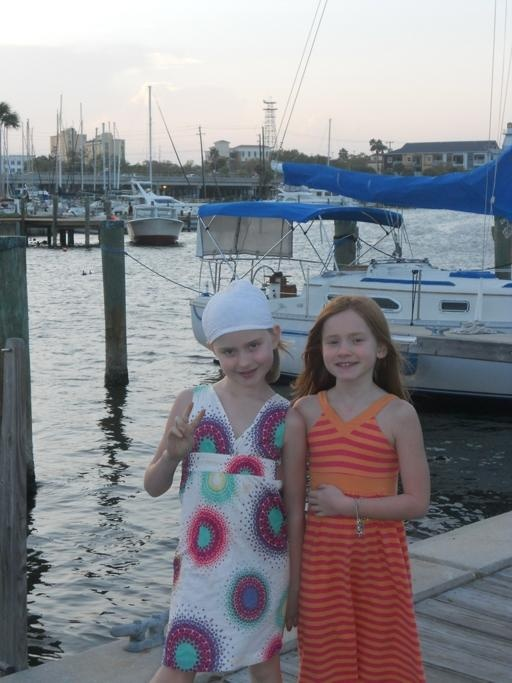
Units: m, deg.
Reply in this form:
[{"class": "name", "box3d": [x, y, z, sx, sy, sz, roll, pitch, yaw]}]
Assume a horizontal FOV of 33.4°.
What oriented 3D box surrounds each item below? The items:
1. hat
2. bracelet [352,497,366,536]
[{"class": "hat", "box3d": [-0.051, -0.066, 2.250, 0.161, 0.121, 0.211, -9, 7, -1]}, {"class": "bracelet", "box3d": [0.282, 0.476, 2.335, 0.035, 0.106, 0.027, 2, 11, 5]}]
